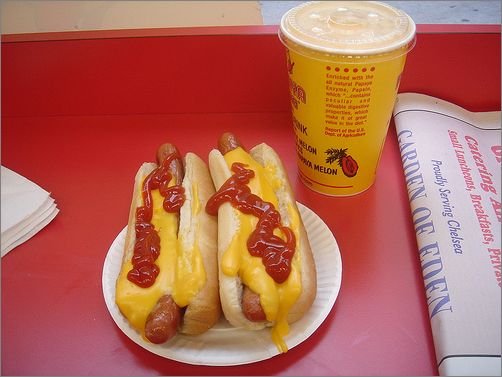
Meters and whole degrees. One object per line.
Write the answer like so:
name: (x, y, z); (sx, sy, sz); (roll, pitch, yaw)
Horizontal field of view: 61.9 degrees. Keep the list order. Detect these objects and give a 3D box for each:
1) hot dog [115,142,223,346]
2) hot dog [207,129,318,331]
hot dog: (-0.323, 0.202, 1.665); (0.326, 0.242, 0.742); (-7, 54, 2)
hot dog: (0.020, 0.157, 1.750); (0.336, 0.285, 0.774); (-6, 55, -6)
